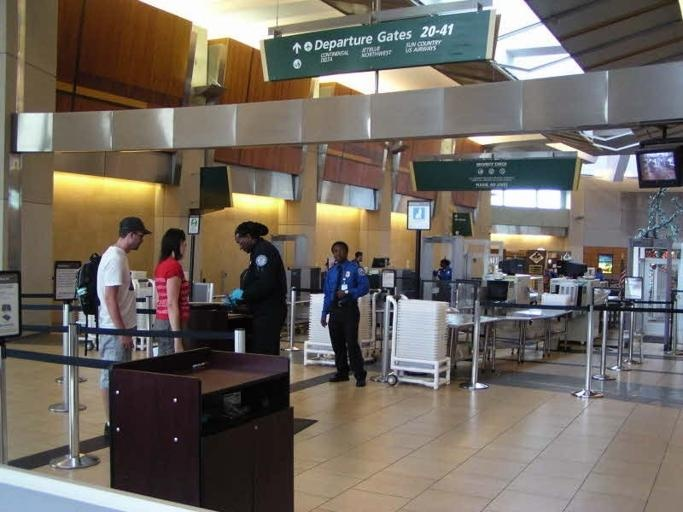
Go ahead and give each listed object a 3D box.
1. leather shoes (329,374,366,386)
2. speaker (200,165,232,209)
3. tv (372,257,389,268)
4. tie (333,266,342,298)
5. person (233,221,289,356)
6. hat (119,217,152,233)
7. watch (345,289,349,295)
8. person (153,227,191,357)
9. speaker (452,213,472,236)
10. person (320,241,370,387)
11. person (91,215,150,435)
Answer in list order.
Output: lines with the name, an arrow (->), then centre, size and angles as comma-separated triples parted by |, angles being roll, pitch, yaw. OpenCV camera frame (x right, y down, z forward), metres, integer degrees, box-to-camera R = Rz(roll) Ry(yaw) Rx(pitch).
leather shoes -> 0.063, 1.750, 8.330 | 0.564, 0.249, 0.182 | -2, -2, 0
speaker -> -2.785, -1.544, 13.039 | 0.825, 0.937, 0.288 | 3, 3, 34
tv -> 1.224, 0.121, 18.283 | 0.571, 0.437, 0.321 | -1, -8, 18
tie -> -0.030, 0.341, 8.139 | 0.117, 0.468, 0.251 | 2, 2, -2
person -> -0.859, 0.329, 6.267 | 0.554, 1.402, 0.359 | 2, 2, -1
hat -> -1.950, -0.284, 5.573 | 0.272, 0.154, 0.188 | -3, 7, -29
watch -> 0.080, 0.483, 8.047 | 0.044, 0.084, 0.058 | 1, 1, 22
person -> -1.679, 0.371, 5.814 | 0.321, 1.315, 0.833 | 1, 2, -17
speaker -> 5.339, -1.476, 25.982 | 0.803, 1.080, 1.873 | 2, 2, 10
person -> 0.047, 0.790, 8.328 | 0.480, 2.006, 0.671 | 0, 3, -34
person -> -2.029, 0.688, 5.447 | 0.445, 2.136, 0.781 | 1, 2, -22
